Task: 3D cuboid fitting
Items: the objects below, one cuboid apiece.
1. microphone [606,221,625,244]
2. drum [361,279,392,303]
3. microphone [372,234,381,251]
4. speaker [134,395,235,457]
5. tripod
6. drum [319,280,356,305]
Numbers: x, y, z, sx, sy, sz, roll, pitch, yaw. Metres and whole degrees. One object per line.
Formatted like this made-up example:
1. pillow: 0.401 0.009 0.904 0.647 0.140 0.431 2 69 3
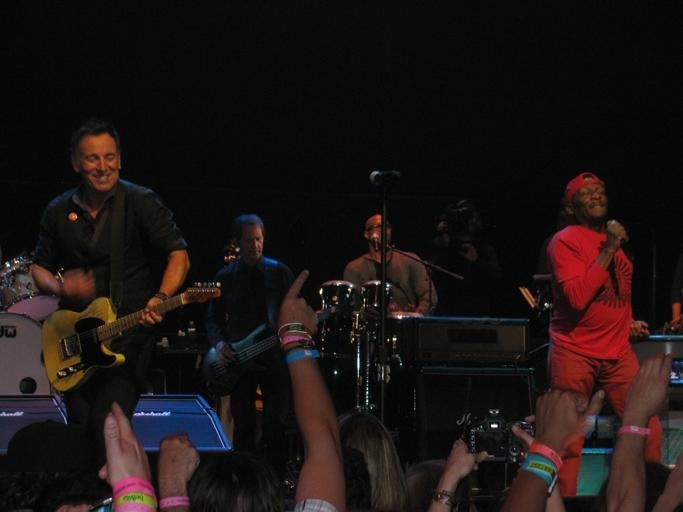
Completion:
1. microphone: 1.823 -0.149 5.603 0.115 0.143 0.233 1 -3 17
2. drum: 0.286 0.310 7.121 0.209 0.176 0.197 3 -10 4
3. microphone: 0.326 -0.125 7.822 0.103 0.124 0.127 0 -22 -9
4. speaker: -1.081 1.139 5.666 0.619 0.154 0.558 7 21 -10
5. tripod: -0.008 0.887 7.025 0.907 0.914 0.892 0 -9 9
6. drum: -0.024 0.328 7.245 0.241 0.201 0.228 1 -3 36
